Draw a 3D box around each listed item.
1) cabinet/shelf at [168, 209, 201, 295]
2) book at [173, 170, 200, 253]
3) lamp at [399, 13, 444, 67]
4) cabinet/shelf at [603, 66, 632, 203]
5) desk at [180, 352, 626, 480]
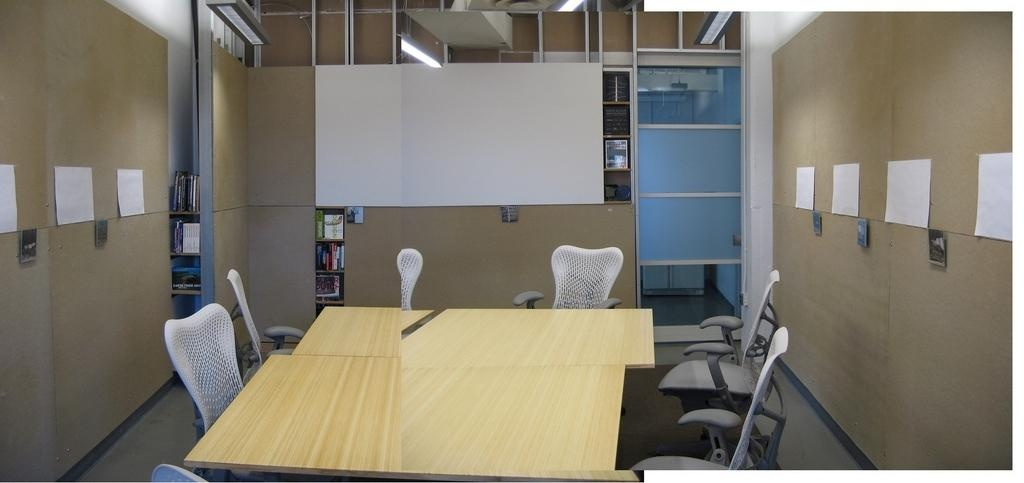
[{"bbox_3d":[-3.211,0.079,6.087,0.323,0.772,0.927,-2,0,-17],"label":"cabinet/shelf"},{"bbox_3d":[-3.186,-0.287,6.104,0.260,0.794,0.179,1,7,19],"label":"book"},{"bbox_3d":[-0.738,-1.631,5.000,0.383,0.447,0.096,1,7,15],"label":"lamp"},{"bbox_3d":[0.834,-0.847,4.949,0.214,1.030,0.101,-1,6,2],"label":"cabinet/shelf"},{"bbox_3d":[-0.661,1.264,4.468,2.862,0.686,0.843,0,6,5],"label":"desk"}]
